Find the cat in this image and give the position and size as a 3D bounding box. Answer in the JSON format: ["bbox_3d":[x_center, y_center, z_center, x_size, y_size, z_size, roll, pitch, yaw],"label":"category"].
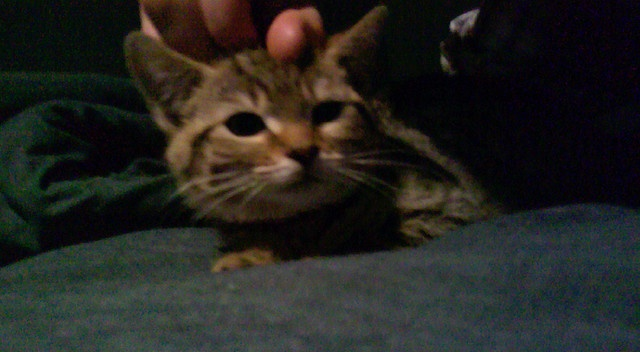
[{"bbox_3d":[0.053,-0.018,2.589,0.624,0.967,0.649,-31,70,15],"label":"cat"}]
